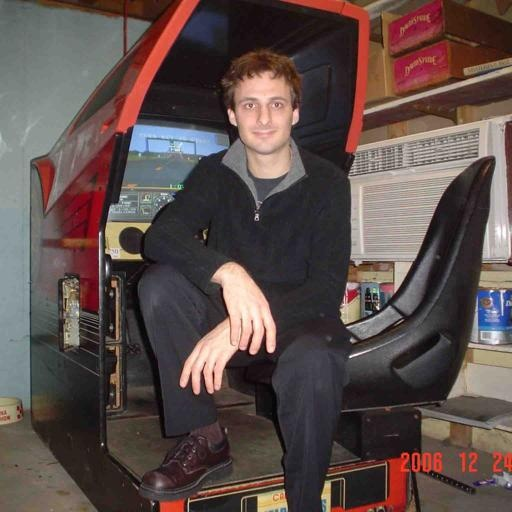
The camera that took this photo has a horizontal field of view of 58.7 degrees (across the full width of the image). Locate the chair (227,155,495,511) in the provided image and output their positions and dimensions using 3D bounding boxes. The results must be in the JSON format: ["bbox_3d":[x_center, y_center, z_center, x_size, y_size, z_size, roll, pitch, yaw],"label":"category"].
[{"bbox_3d":[0.380,0.209,1.369,0.544,1.011,0.466,3,3,30],"label":"chair"}]

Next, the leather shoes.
[{"bbox_3d":[-0.188,0.558,1.251,0.096,0.114,0.238,10,-2,35],"label":"leather shoes"}]

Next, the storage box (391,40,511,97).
[{"bbox_3d":[1.032,-1.042,2.517,0.573,0.239,0.340,3,3,27],"label":"storage box"}]

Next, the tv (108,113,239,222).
[{"bbox_3d":[-0.378,-0.376,1.948,0.613,0.458,0.025,3,1,-29],"label":"tv"}]
